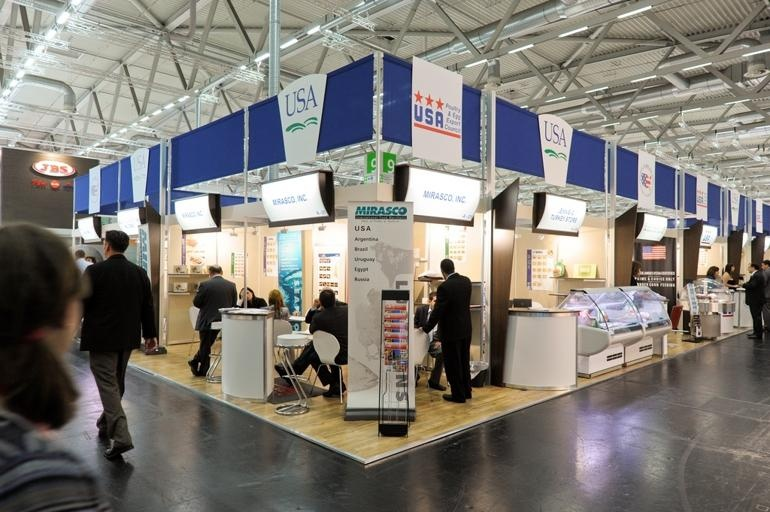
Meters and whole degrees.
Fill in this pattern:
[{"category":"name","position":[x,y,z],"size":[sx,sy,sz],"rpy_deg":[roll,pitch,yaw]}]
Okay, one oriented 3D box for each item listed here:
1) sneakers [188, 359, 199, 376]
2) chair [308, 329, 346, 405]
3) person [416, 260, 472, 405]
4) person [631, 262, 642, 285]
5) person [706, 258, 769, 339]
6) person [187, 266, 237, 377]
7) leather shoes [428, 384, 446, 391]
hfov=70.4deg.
[{"category":"sneakers","position":[-3.079,1.759,8.796],"size":[0.116,0.332,0.144],"rpy_deg":[-3,-3,9]},{"category":"chair","position":[-0.771,1.462,7.544],"size":[0.399,1.079,0.587],"rpy_deg":[-1,11,-4]},{"category":"person","position":[0.895,1.095,7.513],"size":[0.603,1.736,0.480],"rpy_deg":[2,11,9]},{"category":"person","position":[5.013,0.339,10.964],"size":[0.121,0.473,0.851],"rpy_deg":[5,12,28]},{"category":"person","position":[8.604,0.995,12.997],"size":[0.894,1.698,1.373],"rpy_deg":[6,12,31]},{"category":"person","position":[-2.788,1.020,8.885],"size":[0.697,1.746,0.575],"rpy_deg":[5,-9,-32]},{"category":"leather shoes","position":[0.776,1.914,8.109],"size":[0.286,0.120,0.095],"rpy_deg":[-1,-3,9]}]
